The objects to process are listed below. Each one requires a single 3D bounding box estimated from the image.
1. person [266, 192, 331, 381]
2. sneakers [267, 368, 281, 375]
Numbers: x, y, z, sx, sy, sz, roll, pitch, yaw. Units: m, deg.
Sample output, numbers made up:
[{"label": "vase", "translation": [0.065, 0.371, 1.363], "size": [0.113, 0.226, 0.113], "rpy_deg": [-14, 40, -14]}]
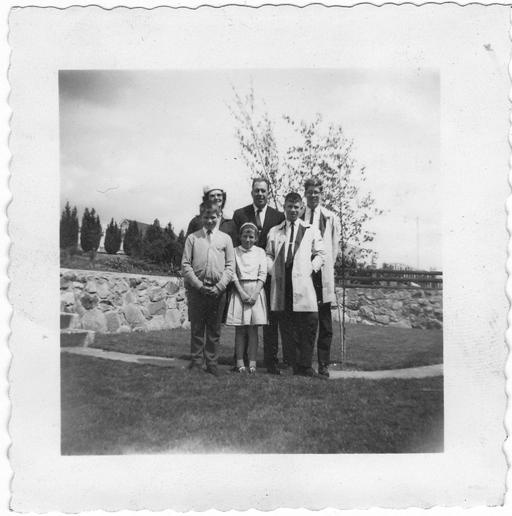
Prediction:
[{"label": "person", "translation": [0.467, 0.176, 7.600], "size": [0.600, 2.127, 0.627], "rpy_deg": [-2, 34, 2]}, {"label": "sneakers", "translation": [0.202, 1.339, 7.321], "size": [0.103, 0.094, 0.068], "rpy_deg": [0, -16, 4]}]
